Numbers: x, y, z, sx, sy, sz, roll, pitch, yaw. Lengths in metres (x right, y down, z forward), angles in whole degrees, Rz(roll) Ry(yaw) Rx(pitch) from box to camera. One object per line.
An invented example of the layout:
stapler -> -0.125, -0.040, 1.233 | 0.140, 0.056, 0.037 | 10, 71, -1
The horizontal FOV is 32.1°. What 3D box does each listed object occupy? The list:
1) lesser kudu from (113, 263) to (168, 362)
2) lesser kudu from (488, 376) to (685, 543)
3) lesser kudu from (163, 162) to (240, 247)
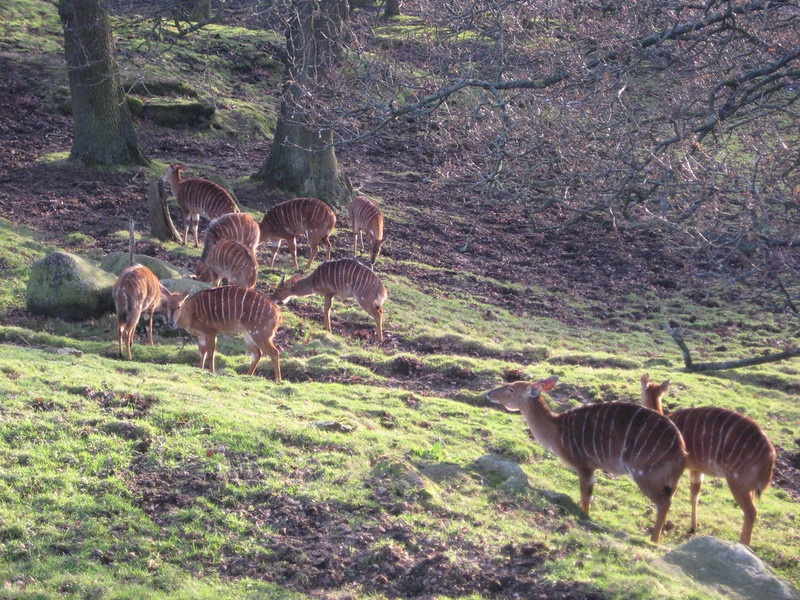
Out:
lesser kudu -> -4.253, 0.121, 22.113 | 0.432, 1.131, 0.897 | 6, 2, 13
lesser kudu -> 2.656, 2.239, 19.971 | 2.886, 2.115, 0.843 | 5, 9, 21
lesser kudu -> -3.770, -1.802, 25.787 | 1.851, 1.478, 0.527 | 16, 13, 30
